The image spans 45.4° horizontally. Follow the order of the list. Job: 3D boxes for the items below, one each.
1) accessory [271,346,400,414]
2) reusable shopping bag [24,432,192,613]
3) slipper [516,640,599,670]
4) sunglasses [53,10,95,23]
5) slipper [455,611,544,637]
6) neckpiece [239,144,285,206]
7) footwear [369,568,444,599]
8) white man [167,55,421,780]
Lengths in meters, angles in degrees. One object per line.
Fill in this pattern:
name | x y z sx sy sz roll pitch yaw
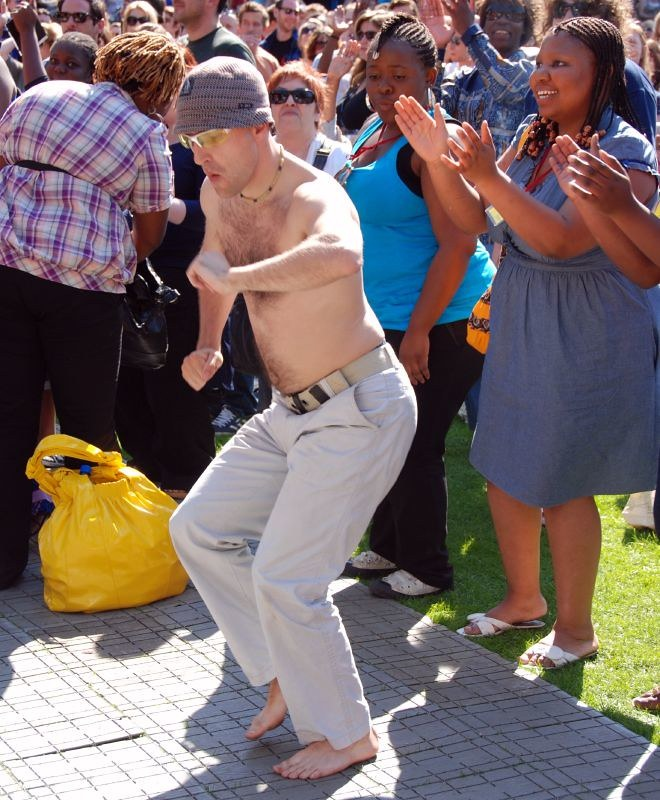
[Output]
accessory | 0.036 -0.042 2.082 0.200 0.061 0.254 -28 8 -26
reusable shopping bag | -0.896 0.503 3.125 0.780 0.701 0.477 -1 -16 -43
slipper | 0.771 0.868 2.695 0.207 0.037 0.094 1 -8 -18
sunglasses | -1.904 -2.858 5.897 0.177 0.044 0.162 9 13 26
slipper | 0.644 0.820 2.944 0.273 0.046 0.111 0 -2 -14
neckpiece | -0.154 -0.577 2.060 0.030 0.156 0.146 35 37 -11
footwear | 0.304 0.767 3.285 0.330 0.099 0.113 -2 9 -4
white man | -0.175 0.056 2.085 0.688 1.855 0.604 5 10 22
